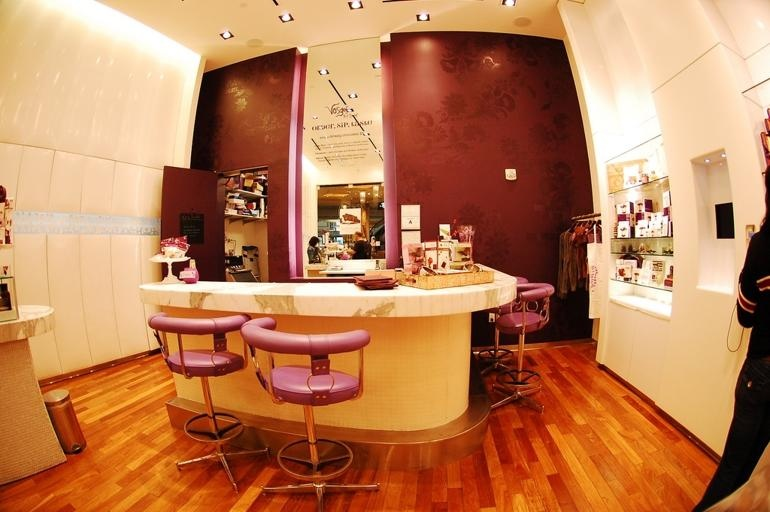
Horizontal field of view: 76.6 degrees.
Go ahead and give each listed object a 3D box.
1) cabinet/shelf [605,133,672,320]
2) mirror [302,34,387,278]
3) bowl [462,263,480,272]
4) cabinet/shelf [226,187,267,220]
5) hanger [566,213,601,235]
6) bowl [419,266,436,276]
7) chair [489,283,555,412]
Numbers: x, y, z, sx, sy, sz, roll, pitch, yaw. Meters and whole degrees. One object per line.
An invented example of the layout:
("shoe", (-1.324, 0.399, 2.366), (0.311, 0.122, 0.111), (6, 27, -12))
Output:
("cabinet/shelf", (3.282, -0.440, 6.203), (0.553, 2.167, 0.864), (-4, 4, -15))
("mirror", (-0.659, -1.633, 7.815), (1.394, 3.714, 0.240), (-3, -13, 3))
("bowl", (0.979, 0.108, 5.492), (0.162, 0.083, 0.445), (-2, 4, 12))
("cabinet/shelf", (-2.589, -0.979, 9.175), (0.439, 0.513, 1.235), (-2, 4, 5))
("hanger", (2.834, -0.488, 7.002), (0.166, 0.232, 0.576), (-6, 0, -8))
("bowl", (0.472, 0.148, 5.197), (0.175, 0.083, 0.202), (-3, 4, -6))
("chair", (1.772, 1.052, 6.417), (0.760, 1.448, 1.409), (-1, 4, 15))
